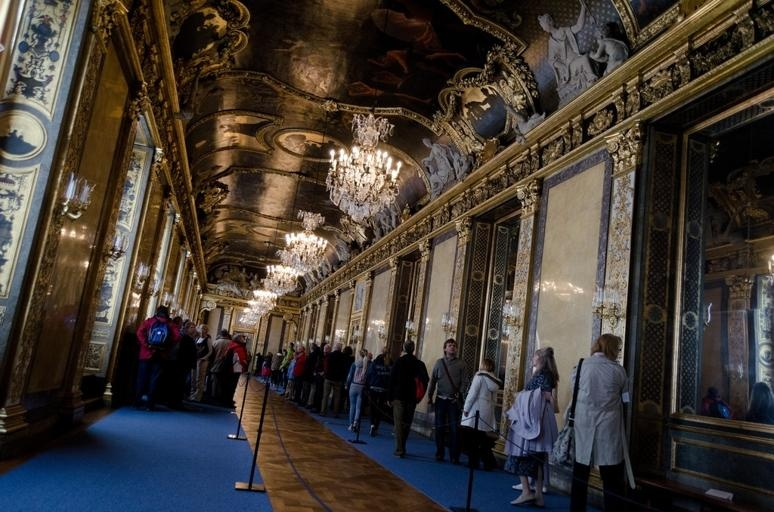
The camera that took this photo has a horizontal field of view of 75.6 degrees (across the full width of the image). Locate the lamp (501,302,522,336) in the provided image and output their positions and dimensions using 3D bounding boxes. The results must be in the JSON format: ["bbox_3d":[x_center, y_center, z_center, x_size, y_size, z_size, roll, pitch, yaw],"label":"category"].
[{"bbox_3d":[2.716,1.370,10.913,0.278,0.777,1.426,5,-10,12],"label":"lamp"}]

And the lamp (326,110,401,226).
[{"bbox_3d":[-0.473,-2.111,11.250,1.411,2.294,0.725,6,-9,9],"label":"lamp"}]

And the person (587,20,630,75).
[{"bbox_3d":[4.042,-3.699,9.072,0.357,1.015,0.729,11,-10,-22],"label":"person"}]

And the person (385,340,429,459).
[{"bbox_3d":[0.364,2.753,9.737,0.558,2.175,0.694,1,-11,36],"label":"person"}]

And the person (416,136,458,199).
[{"bbox_3d":[1.475,-2.643,15.047,0.788,1.544,1.854,9,-9,-9],"label":"person"}]

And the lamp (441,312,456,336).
[{"bbox_3d":[1.572,1.757,12.851,0.248,0.612,0.605,9,-9,-8],"label":"lamp"}]

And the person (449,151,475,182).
[{"bbox_3d":[2.094,-2.474,13.752,0.270,0.937,0.747,-4,28,-21],"label":"person"}]

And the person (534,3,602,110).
[{"bbox_3d":[3.430,-3.926,9.780,0.775,1.692,1.244,11,-10,-20],"label":"person"}]

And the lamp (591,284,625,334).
[{"bbox_3d":[3.597,0.824,8.178,0.269,0.863,0.592,9,-9,-11],"label":"lamp"}]

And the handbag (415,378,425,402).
[{"bbox_3d":[0.598,2.638,9.792,0.096,0.380,0.277,2,-5,39],"label":"handbag"}]

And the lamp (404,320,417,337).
[{"bbox_3d":[0.735,2.229,15.384,0.416,0.487,0.424,3,-11,-6],"label":"lamp"}]

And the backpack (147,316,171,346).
[{"bbox_3d":[-4.780,1.595,10.445,0.474,0.690,0.352,4,-23,-16],"label":"backpack"}]

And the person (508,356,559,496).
[{"bbox_3d":[2.211,2.530,7.508,0.715,2.290,0.447,6,-9,8],"label":"person"}]
